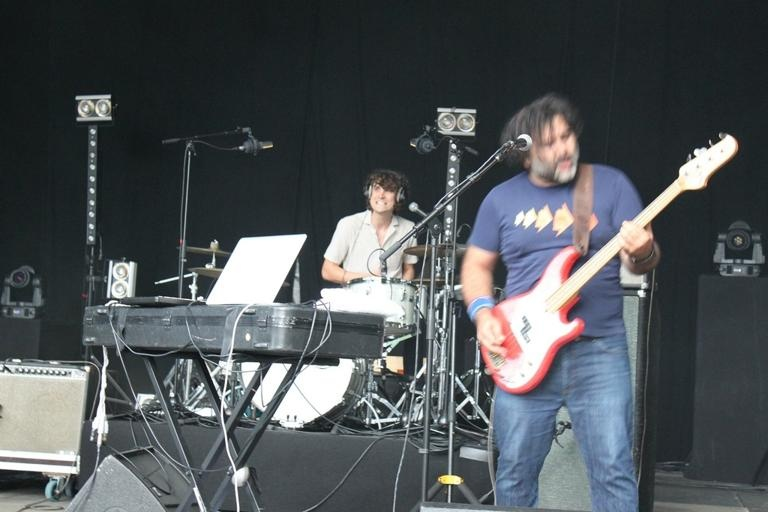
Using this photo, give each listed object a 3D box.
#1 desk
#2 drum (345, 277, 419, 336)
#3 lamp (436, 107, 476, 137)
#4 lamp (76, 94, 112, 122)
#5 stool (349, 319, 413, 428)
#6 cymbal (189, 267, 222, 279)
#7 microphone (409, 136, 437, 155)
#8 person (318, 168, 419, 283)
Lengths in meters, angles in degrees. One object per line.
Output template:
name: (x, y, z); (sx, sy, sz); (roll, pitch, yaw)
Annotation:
desk: (-0.909, 1.104, 7.629); (1.117, 1.613, 1.096); (-2, -3, 21)
drum: (0.002, 0.406, 8.466); (0.444, 0.349, 0.473); (1, -7, 0)
lamp: (0.620, -1.135, 9.162); (0.370, 0.276, 0.223); (1, -4, 0)
lamp: (-2.623, -1.328, 9.653); (0.368, 0.249, 0.098); (3, -1, 16)
stool: (0.040, 1.052, 9.020); (0.644, 0.823, 0.747); (2, -10, -12)
cymbal: (-1.616, 0.138, 9.635); (0.273, 0.097, 0.454); (4, -1, -14)
microphone: (0.330, -0.920, 8.815); (0.188, 0.146, 0.196); (3, -1, 12)
person: (-0.068, -0.151, 9.676); (0.863, 1.276, 0.765); (1, 3, -15)
